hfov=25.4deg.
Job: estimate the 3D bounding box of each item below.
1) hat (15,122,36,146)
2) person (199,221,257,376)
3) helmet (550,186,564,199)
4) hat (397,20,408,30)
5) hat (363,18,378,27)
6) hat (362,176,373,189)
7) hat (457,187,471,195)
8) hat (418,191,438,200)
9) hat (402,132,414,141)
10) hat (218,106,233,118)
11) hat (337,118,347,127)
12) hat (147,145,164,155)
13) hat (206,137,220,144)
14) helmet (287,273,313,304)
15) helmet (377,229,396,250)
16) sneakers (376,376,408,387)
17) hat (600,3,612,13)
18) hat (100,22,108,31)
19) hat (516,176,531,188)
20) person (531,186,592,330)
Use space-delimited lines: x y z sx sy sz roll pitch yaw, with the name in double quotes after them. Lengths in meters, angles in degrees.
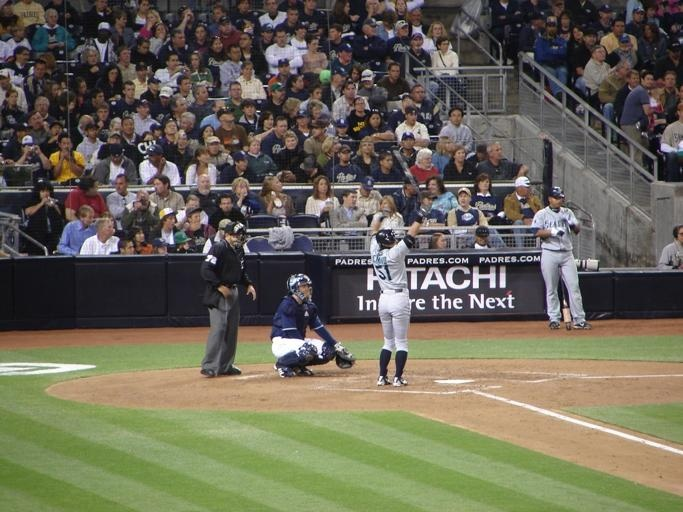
-6.767 -2.581 31.919 0.489 0.451 0.172 -4 -4 31 "hat"
-1.958 0.726 25.446 0.836 2.591 0.438 1 -4 -36 "person"
4.146 -1.188 29.003 0.267 0.221 0.253 0 -4 -17 "helmet"
1.390 -5.381 35.277 0.205 0.151 0.305 -5 6 -16 "hat"
0.666 -5.385 34.941 0.299 0.163 0.214 2 7 13 "hat"
0.544 -1.472 30.743 0.308 0.268 0.140 0 -4 -28 "hat"
2.512 -1.329 30.878 0.262 0.172 0.453 -2 -4 4 "hat"
1.753 -1.220 30.698 0.285 0.156 0.183 1 7 -1 "hat"
1.395 -2.512 31.773 0.282 0.204 0.437 -2 -4 2 "hat"
-2.425 -3.030 31.939 0.376 0.246 0.243 2 -5 -39 "hat"
0.000 -2.786 31.650 0.181 0.210 0.274 -4 -4 30 "hat"
-3.842 -2.172 31.049 0.330 0.236 0.217 -1 -4 -6 "hat"
-2.680 -2.397 31.239 0.270 0.194 0.317 -1 -4 -7 "hat"
-0.709 0.550 25.505 0.356 0.478 0.497 -2 -4 2 "helmet"
0.717 -0.287 24.365 0.261 0.284 0.308 12 27 42 "helmet"
0.806 2.038 24.366 0.506 0.210 0.182 -1 3 -17 "sneakers"
6.431 -6.018 36.832 0.246 0.184 0.334 -1 20 -5 "hat"
-5.207 -4.989 32.897 0.192 0.130 0.269 0 5 -9 "hat"
3.713 -1.518 31.009 0.281 0.279 0.413 -3 -4 18 "hat"
4.175 0.050 29.130 0.864 2.674 1.244 -3 -4 19 "person"
